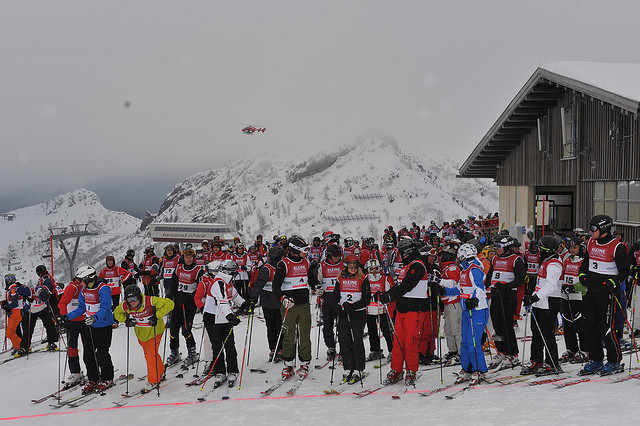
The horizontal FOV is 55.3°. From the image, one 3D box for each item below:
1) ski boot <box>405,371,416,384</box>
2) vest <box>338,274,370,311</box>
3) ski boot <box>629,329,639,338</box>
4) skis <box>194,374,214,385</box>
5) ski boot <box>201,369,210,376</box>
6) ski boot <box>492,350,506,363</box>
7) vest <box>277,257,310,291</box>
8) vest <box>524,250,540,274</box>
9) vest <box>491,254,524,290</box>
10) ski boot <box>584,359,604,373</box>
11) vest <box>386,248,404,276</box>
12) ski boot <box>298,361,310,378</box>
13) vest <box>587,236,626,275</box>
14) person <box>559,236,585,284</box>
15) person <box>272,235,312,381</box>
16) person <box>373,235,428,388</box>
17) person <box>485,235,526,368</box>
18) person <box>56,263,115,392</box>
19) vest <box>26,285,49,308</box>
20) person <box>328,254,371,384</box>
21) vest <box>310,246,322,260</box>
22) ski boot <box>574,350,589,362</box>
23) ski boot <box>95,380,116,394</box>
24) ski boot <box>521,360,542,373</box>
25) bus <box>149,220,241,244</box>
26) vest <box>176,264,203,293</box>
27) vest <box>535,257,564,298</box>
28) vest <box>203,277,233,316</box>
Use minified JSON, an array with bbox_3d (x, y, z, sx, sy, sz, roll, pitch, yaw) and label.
[{"bbox_3d":[2.526,4.540,16.995,0.227,0.353,0.346,10,-29,21],"label":"ski boot"},{"bbox_3d":[0.949,2.225,17.476,0.996,1.181,0.623,-2,-16,6],"label":"vest"},{"bbox_3d":[10.275,3.886,19.772,0.217,0.305,0.689,-12,-20,42],"label":"ski boot"},{"bbox_3d":[-3.485,4.910,18.072,0.143,0.085,0.572,10,17,15],"label":"skis"},{"bbox_3d":[-3.437,4.778,18.374,0.165,0.239,0.193,4,-13,-1],"label":"ski boot"},{"bbox_3d":[5.242,4.258,18.068,0.587,0.262,0.193,-21,2,-32],"label":"ski boot"},{"bbox_3d":[-0.732,1.864,18.333,0.861,1.225,0.640,0,-2,-27],"label":"vest"},{"bbox_3d":[6.834,1.595,19.559,0.627,0.826,0.433,-1,-4,13],"label":"vest"},{"bbox_3d":[5.508,1.732,17.800,0.575,1.096,0.771,18,-16,-38],"label":"vest"},{"bbox_3d":[7.575,4.186,16.821,0.498,0.319,0.320,-1,8,22],"label":"ski boot"},{"bbox_3d":[2.424,1.591,20.051,0.641,0.976,0.895,-2,-6,17],"label":"vest"},{"bbox_3d":[-0.481,4.594,17.985,0.250,0.425,0.576,-3,8,7],"label":"ski boot"},{"bbox_3d":[7.941,1.220,16.937,0.657,1.204,1.188,-4,7,-21],"label":"vest"},{"bbox_3d":[7.309,1.354,17.624,0.646,1.246,1.068,-1,8,24],"label":"person"},{"bbox_3d":[-0.791,2.780,18.040,1.117,4.043,0.954,-5,7,-7],"label":"person"},{"bbox_3d":[2.415,2.754,16.922,1.217,4.050,0.616,-3,7,7],"label":"person"},{"bbox_3d":[5.437,2.594,17.871,1.104,3.723,0.797,-2,7,15],"label":"person"},{"bbox_3d":[-6.771,3.357,18.020,1.294,3.584,0.860,-1,8,21],"label":"person"},{"bbox_3d":[-10.112,3.029,21.626,0.581,0.644,1.355,-9,9,-35],"label":"vest"},{"bbox_3d":[0.935,3.018,17.333,1.020,3.658,0.477,-4,7,-1],"label":"person"},{"bbox_3d":[-0.197,1.899,27.705,0.619,0.867,0.455,0,-17,3],"label":"vest"},{"bbox_3d":[7.700,4.206,17.957,0.339,0.161,0.437,-5,22,36],"label":"ski boot"},{"bbox_3d":[-6.357,5.062,17.990,0.183,0.252,0.549,12,26,8],"label":"ski boot"},{"bbox_3d":[5.904,4.377,17.267,0.652,0.319,0.230,-13,-21,-8],"label":"ski boot"},{"bbox_3d":[-14.686,2.280,71.485,12.026,3.145,3.815,-2,5,18],"label":"bus"},{"bbox_3d":[-4.365,2.160,20.117,0.929,0.970,0.534,8,2,16],"label":"vest"},{"bbox_3d":[6.556,1.840,17.193,0.898,1.196,0.889,-2,4,-33],"label":"vest"},{"bbox_3d":[-2.887,2.423,17.991,0.636,1.166,0.845,11,1,45],"label":"vest"}]
